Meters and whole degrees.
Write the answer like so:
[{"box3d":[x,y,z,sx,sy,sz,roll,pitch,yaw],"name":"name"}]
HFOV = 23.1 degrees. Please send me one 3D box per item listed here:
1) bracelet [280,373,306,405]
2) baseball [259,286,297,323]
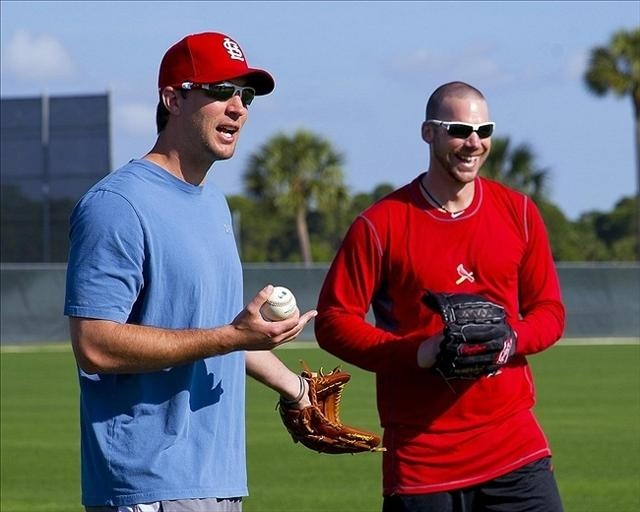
[{"box3d":[-0.212,1.155,13.449,0.188,0.269,0.120,-6,-36,4],"name":"bracelet"},{"box3d":[-0.328,0.406,12.905,0.260,0.287,0.270,10,-5,-11],"name":"baseball"}]
